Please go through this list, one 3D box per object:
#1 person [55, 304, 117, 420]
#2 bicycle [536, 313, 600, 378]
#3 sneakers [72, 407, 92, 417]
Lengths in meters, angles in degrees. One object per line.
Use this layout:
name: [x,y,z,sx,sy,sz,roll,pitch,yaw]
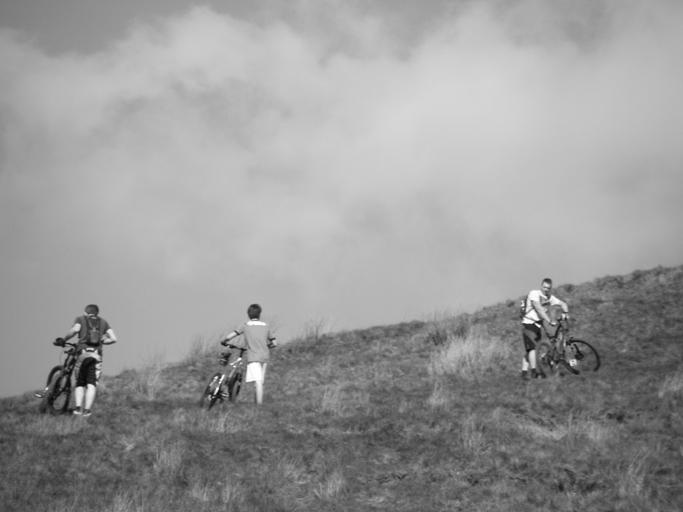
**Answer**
person: [-6.930,2.777,22.848,1.228,3.194,1.027,12,-27,-30]
bicycle: [7.115,2.874,26.284,2.207,1.651,1.107,-6,-1,44]
sneakers: [-7.078,4.197,22.995,0.558,0.302,0.230,12,-11,-10]
